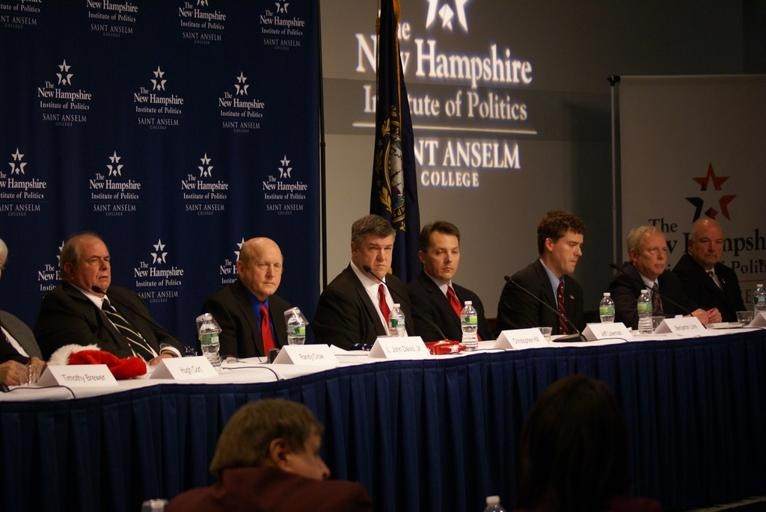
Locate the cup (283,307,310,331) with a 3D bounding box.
[{"bbox_3d":[-0.539,0.363,4.846,0.157,0.082,0.225,4,-7,-11],"label":"cup"}]

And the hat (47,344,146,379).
[{"bbox_3d":[-1.455,0.526,4.047,0.260,0.125,0.252,1,-9,8],"label":"hat"}]

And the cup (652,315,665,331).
[{"bbox_3d":[1.836,0.443,5.292,0.085,0.074,0.082,0,6,0],"label":"cup"}]

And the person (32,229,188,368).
[{"bbox_3d":[-1.855,0.373,5.379,0.868,0.957,0.866,-6,-6,26],"label":"person"}]

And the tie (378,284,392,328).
[{"bbox_3d":[0.010,0.318,5.344,0.048,0.333,0.037,-5,-18,2],"label":"tie"}]

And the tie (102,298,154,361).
[{"bbox_3d":[-1.635,0.476,5.042,0.087,0.396,0.116,-28,-27,-33],"label":"tie"}]

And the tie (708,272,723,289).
[{"bbox_3d":[2.688,0.176,6.417,0.050,0.154,0.110,-24,12,8],"label":"tie"}]

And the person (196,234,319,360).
[{"bbox_3d":[-0.880,0.270,5.323,0.692,1.250,0.666,8,-19,-38],"label":"person"}]

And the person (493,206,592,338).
[{"bbox_3d":[1.125,0.118,5.940,0.739,1.256,0.771,-2,-6,37],"label":"person"}]

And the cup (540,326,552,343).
[{"bbox_3d":[1.020,0.486,4.947,0.079,0.075,0.079,0,3,0],"label":"cup"}]

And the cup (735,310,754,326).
[{"bbox_3d":[2.514,0.425,5.508,0.092,0.084,0.103,0,-8,3],"label":"cup"}]

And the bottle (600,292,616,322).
[{"bbox_3d":[1.503,0.344,5.322,0.085,0.195,0.448,-1,1,14],"label":"bottle"}]
